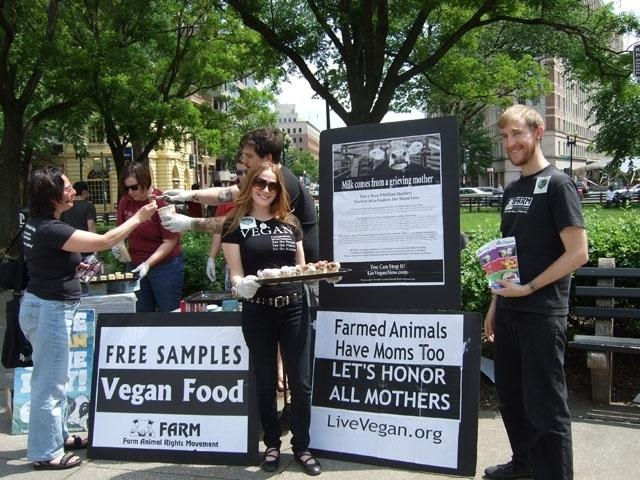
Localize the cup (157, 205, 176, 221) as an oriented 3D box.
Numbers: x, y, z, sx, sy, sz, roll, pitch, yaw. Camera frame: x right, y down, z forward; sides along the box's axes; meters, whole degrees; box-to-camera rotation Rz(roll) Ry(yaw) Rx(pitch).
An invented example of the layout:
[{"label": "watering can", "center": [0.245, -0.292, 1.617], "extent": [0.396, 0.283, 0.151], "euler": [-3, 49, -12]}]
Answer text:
[{"label": "cup", "center": [-1.403, -0.261, 5.218], "extent": [0.131, 0.099, 0.132], "euler": [-15, -4, -1]}]

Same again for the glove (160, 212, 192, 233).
[{"label": "glove", "center": [-1.332, -0.156, 5.236], "extent": [0.191, 0.148, 0.197], "euler": [0, 0, -31]}]

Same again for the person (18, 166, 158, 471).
[{"label": "person", "center": [-2.380, 0.708, 5.297], "extent": [1.143, 2.746, 0.520], "euler": [-2, -3, 14]}]

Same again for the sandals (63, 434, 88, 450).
[{"label": "sandals", "center": [-2.356, 1.956, 5.560], "extent": [0.264, 0.103, 0.154], "euler": [6, 26, -11]}]

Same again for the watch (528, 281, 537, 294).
[{"label": "watch", "center": [1.669, 0.368, 4.482], "extent": [0.022, 0.078, 0.082], "euler": [-5, 14, -26]}]

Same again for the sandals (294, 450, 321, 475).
[{"label": "sandals", "center": [-0.106, 1.948, 5.036], "extent": [0.111, 0.099, 0.276], "euler": [-11, 8, -32]}]

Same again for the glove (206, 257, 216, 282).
[{"label": "glove", "center": [-1.272, 0.344, 6.722], "extent": [0.099, 0.329, 0.254], "euler": [6, 3, -4]}]

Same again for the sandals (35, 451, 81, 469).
[{"label": "sandals", "center": [-2.388, 2.003, 5.204], "extent": [0.297, 0.088, 0.166], "euler": [-1, 1, 0]}]

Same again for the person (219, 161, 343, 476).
[{"label": "person", "center": [-0.421, 0.674, 4.990], "extent": [0.825, 2.721, 0.477], "euler": [-1, -3, -12]}]

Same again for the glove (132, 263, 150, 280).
[{"label": "glove", "center": [-1.941, 0.335, 6.214], "extent": [0.073, 0.157, 0.211], "euler": [35, -33, -3]}]

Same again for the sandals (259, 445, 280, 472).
[{"label": "sandals", "center": [-0.427, 1.929, 5.044], "extent": [0.093, 0.092, 0.241], "euler": [2, 23, -1]}]
